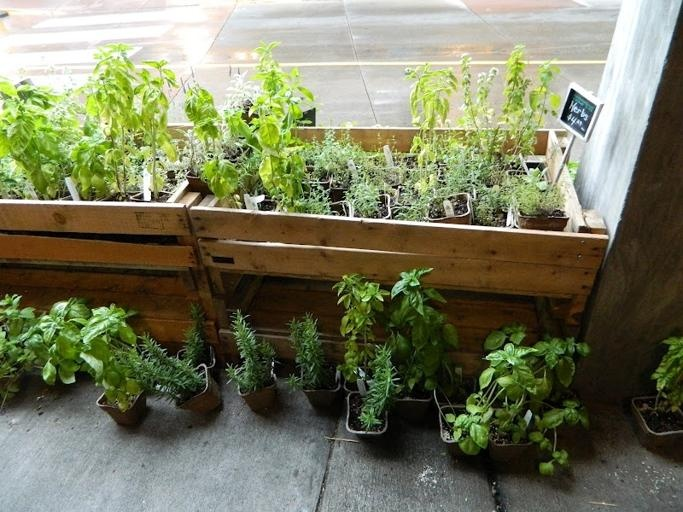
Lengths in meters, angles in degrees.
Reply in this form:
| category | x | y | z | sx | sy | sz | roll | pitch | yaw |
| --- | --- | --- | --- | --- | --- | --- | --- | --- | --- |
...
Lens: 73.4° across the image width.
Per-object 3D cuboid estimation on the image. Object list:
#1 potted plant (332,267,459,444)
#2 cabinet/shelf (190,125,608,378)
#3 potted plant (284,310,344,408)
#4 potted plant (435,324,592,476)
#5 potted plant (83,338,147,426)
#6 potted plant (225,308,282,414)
| category | x | y | z | sx | sy | sz | roll | pitch | yaw |
| --- | --- | --- | --- | --- | --- | --- | --- | --- | --- |
| potted plant | 0.329 | 0.522 | 2.730 | 0.742 | 0.993 | 0.598 | -9 | 35 | -5 |
| cabinet/shelf | 0.368 | 0.165 | 3.271 | 2.408 | 0.981 | 1.217 | 5 | 15 | 13 |
| potted plant | -0.157 | 0.692 | 2.963 | 0.347 | 0.537 | 0.301 | -11 | -7 | 8 |
| potted plant | 1.033 | 0.805 | 2.787 | 0.931 | 0.793 | 0.606 | -20 | -1 | 15 |
| potted plant | -1.351 | 0.838 | 2.952 | 0.446 | 0.283 | 0.334 | 2 | 34 | 3 |
| potted plant | -0.572 | 0.681 | 2.953 | 0.414 | 0.593 | 0.304 | -15 | 57 | -2 |
